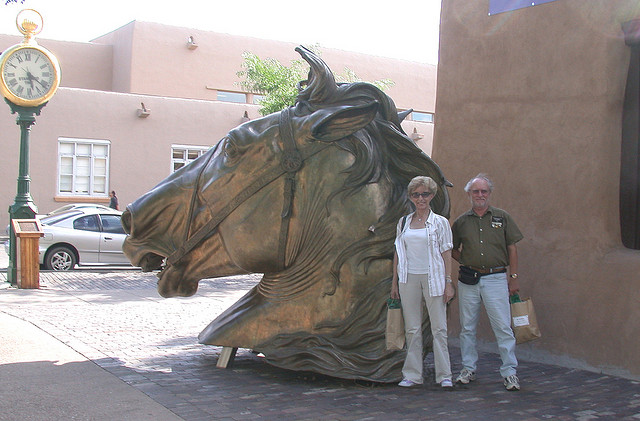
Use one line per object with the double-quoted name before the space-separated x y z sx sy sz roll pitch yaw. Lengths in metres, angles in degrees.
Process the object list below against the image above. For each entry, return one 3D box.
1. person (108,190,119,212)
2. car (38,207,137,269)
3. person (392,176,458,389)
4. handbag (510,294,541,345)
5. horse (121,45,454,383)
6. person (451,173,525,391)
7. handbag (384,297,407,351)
"person" -8.401 -0.393 23.105 0.297 0.422 0.875 8 33 -7
"car" -5.831 0.702 14.067 3.800 1.374 1.697 0 2 -15
"person" 1.026 0.697 5.626 0.614 2.111 0.377 -1 -4 4
"handbag" 2.075 1.106 5.754 0.267 0.488 0.187 -2 -4 19
"horse" -0.328 0.026 6.181 3.659 3.291 1.657 0 5 10
"person" 1.736 0.712 5.867 0.705 2.169 0.341 -2 -4 19
"handbag" 0.744 1.104 5.498 0.225 0.520 0.194 -1 -4 -1
